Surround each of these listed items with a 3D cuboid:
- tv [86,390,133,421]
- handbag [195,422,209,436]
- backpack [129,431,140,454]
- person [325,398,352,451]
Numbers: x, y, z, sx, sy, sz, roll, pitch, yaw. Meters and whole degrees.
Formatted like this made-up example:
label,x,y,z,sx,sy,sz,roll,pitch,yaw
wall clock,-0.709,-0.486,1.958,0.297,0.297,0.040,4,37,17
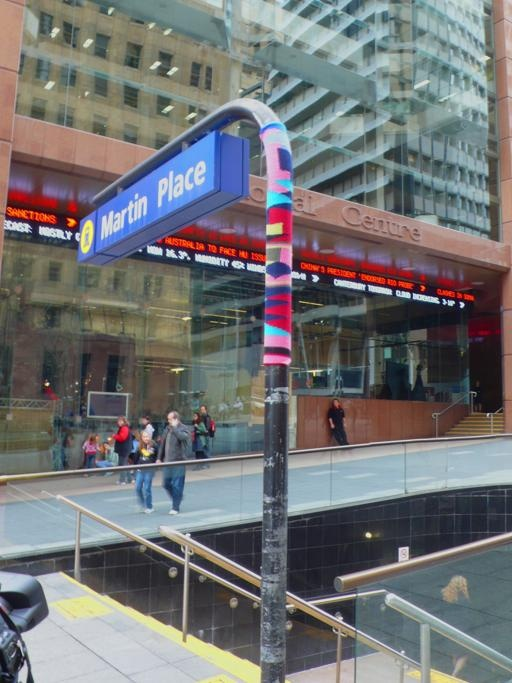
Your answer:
label,x,y,z,sx,sy,sz,roll,pitch,yaw
tv,-3.238,1.397,14.437,0.736,0.442,0.074,7,-22,-38
handbag,-1.256,1.998,15.120,0.241,0.270,0.192,-23,-29,16
backpack,-2.520,2.094,13.737,0.311,0.387,0.165,0,12,-5
person,2.159,2.171,18.062,0.542,1.249,1.088,0,-7,6
